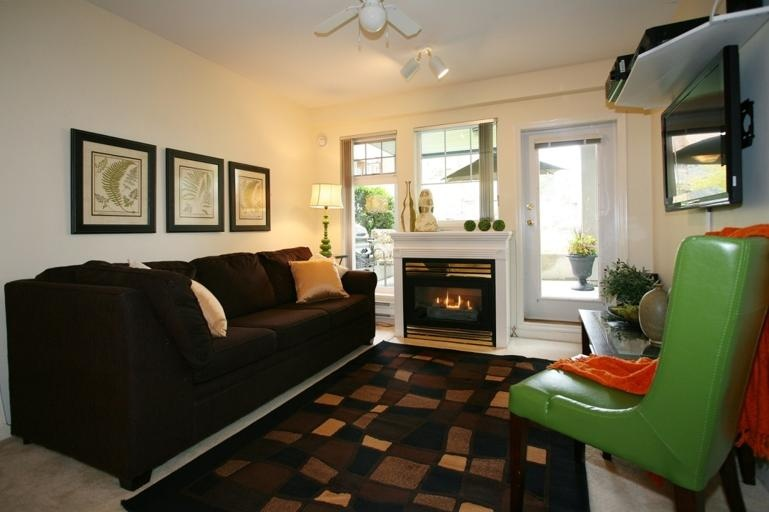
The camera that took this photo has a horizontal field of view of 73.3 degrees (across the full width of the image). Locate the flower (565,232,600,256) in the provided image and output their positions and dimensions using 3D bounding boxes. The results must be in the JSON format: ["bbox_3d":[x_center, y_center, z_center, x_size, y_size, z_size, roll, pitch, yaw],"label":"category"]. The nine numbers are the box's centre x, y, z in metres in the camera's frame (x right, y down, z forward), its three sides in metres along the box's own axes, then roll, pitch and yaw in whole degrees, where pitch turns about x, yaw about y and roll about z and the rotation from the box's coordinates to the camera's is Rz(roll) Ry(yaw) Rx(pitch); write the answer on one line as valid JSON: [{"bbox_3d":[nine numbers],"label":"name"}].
[{"bbox_3d":[2.132,-0.138,5.532,0.225,0.302,0.304,0,7,-2],"label":"flower"}]

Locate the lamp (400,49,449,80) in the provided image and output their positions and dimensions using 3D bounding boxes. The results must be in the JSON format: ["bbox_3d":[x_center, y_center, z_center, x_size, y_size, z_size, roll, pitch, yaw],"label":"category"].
[{"bbox_3d":[0.383,-1.809,4.897,0.398,0.324,0.659,-2,5,9],"label":"lamp"}]

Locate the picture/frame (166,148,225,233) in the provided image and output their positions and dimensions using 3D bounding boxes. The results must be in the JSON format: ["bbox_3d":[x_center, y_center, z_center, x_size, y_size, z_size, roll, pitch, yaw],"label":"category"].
[{"bbox_3d":[-1.816,-0.619,4.844,0.073,0.979,0.865,1,1,28],"label":"picture/frame"}]

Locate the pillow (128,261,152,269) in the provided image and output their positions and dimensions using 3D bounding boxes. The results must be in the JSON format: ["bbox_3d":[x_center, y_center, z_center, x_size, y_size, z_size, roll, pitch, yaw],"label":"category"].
[{"bbox_3d":[-1.867,0.068,3.918,0.131,0.042,0.142,11,2,34],"label":"pillow"}]

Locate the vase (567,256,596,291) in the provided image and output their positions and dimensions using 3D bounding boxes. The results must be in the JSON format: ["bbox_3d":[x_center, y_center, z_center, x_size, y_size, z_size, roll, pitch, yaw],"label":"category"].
[{"bbox_3d":[2.137,0.175,5.591,0.355,0.392,0.347,-3,-1,25],"label":"vase"}]

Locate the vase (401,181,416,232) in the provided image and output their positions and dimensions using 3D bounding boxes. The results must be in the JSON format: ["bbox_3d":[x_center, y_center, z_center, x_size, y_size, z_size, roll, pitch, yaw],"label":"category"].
[{"bbox_3d":[0.256,-0.571,5.831,0.174,0.572,0.334,-3,5,4],"label":"vase"}]

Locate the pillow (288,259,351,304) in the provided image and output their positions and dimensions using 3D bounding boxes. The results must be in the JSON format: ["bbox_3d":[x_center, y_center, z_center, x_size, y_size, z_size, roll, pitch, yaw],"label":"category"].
[{"bbox_3d":[-0.664,0.246,5.067,0.453,0.460,0.140,-3,-29,-31],"label":"pillow"}]

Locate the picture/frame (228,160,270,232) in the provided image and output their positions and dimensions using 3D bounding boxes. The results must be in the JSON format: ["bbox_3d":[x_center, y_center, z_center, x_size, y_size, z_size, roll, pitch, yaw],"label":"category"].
[{"bbox_3d":[-1.452,-0.630,5.411,0.070,0.914,0.806,-1,0,27],"label":"picture/frame"}]

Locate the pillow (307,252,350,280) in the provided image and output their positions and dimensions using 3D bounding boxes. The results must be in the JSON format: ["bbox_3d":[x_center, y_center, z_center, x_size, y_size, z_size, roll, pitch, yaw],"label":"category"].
[{"bbox_3d":[-0.548,0.089,5.545,0.293,0.284,0.294,2,4,12],"label":"pillow"}]
